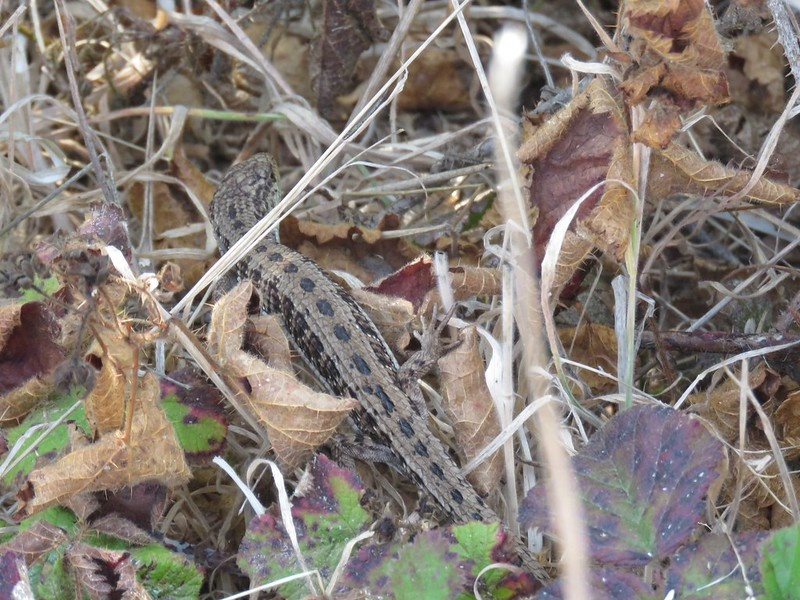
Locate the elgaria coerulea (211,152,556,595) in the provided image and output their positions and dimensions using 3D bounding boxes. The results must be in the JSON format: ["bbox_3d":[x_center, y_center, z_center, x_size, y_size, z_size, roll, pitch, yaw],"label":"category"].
[{"bbox_3d":[-0.188,0.124,3.035,0.450,0.365,1.889,-23,46,-22],"label":"elgaria coerulea"}]
